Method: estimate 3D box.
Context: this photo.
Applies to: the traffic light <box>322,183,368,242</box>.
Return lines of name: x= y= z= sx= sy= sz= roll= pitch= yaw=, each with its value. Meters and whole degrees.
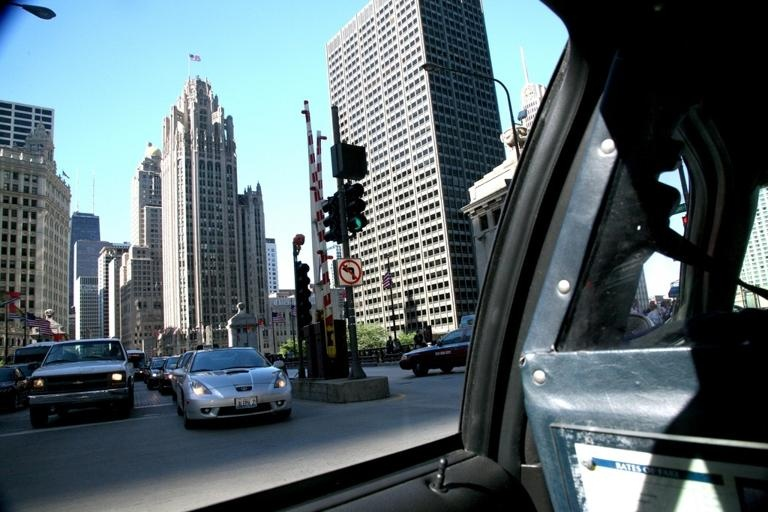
traffic light: x=-0.747 y=-0.803 z=11.254 sx=0.720 sy=1.116 sz=1.337 roll=-1 pitch=-8 yaw=-13

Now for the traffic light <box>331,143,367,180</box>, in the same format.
traffic light: x=-0.615 y=-1.725 z=10.559 sx=0.613 sy=0.741 sz=0.488 roll=-3 pitch=-8 yaw=-5

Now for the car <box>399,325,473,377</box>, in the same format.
car: x=1.589 y=2.830 z=17.483 sx=2.069 sy=1.304 sz=1.401 roll=-6 pitch=-8 yaw=17

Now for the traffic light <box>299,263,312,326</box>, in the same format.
traffic light: x=-1.798 y=0.901 z=13.570 sx=0.291 sy=1.405 sz=0.991 roll=-2 pitch=-8 yaw=-7
